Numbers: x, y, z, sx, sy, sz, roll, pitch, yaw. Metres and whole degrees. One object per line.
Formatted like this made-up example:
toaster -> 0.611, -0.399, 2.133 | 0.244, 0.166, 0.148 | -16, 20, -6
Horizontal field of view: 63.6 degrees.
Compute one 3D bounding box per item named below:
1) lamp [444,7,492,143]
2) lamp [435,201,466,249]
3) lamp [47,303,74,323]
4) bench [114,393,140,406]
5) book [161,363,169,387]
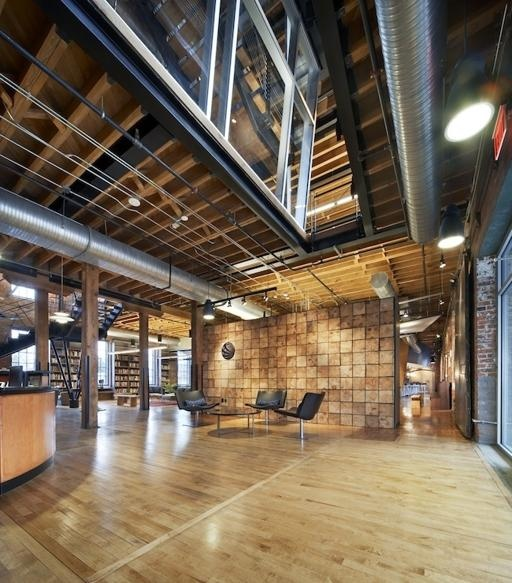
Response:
lamp -> 1.465, -1.399, 2.883 | 0.310, 0.561, 0.340 | -7, -15, 29
lamp -> 2.080, -0.728, 4.430 | 0.250, 0.562, 0.482 | -6, -15, 26
lamp -> -5.806, 0.616, 12.169 | 0.556, 0.443, 0.559 | 4, -6, -5
bench -> -4.496, 3.799, 14.443 | 0.669, 0.384, 1.819 | 6, -15, -19
book -> -4.550, 4.166, 20.770 | 0.307, 1.149, 0.710 | -3, -14, 18
